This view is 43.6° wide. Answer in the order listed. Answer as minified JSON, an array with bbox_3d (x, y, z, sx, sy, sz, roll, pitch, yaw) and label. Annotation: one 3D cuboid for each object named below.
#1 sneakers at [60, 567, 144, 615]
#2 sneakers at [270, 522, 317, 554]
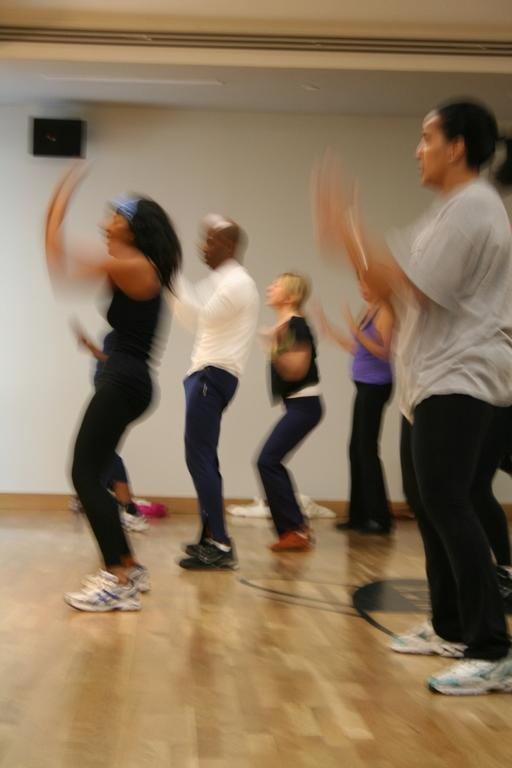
[{"bbox_3d":[-0.381,0.537,1.648,0.244,0.104,0.076,5,-10,-15],"label":"sneakers"},{"bbox_3d":[0.146,0.611,2.464,0.154,0.083,0.075,0,-14,1],"label":"sneakers"}]
